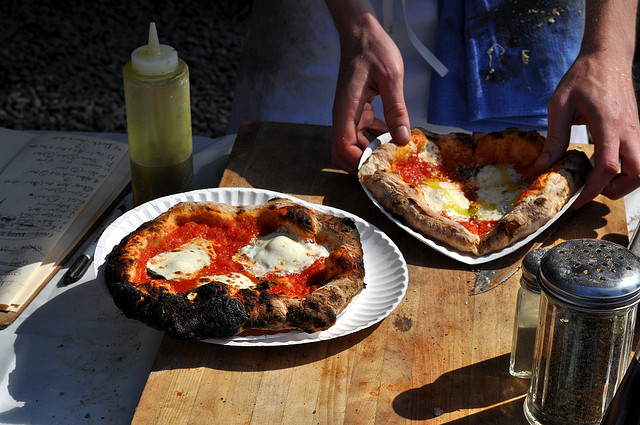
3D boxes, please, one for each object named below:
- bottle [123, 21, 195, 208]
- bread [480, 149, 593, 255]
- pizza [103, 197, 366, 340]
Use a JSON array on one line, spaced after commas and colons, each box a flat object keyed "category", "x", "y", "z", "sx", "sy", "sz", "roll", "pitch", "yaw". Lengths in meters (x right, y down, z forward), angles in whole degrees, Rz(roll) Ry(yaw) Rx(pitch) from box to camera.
[{"category": "bottle", "x": -0.483, "y": -0.219, "z": 1.829, "sx": 0.169, "sy": 0.642, "sz": 0.162, "roll": 1, "pitch": 35, "yaw": 0}, {"category": "bread", "x": 0.645, "y": -0.009, "z": 1.796, "sx": 0.356, "sy": 0.281, "sz": 0.266, "roll": 1, "pitch": 19, "yaw": 6}, {"category": "pizza", "x": -0.201, "y": 0.117, "z": 1.555, "sx": 0.627, "sy": 0.125, "sz": 0.570, "roll": 5, "pitch": 30, "yaw": -4}]
